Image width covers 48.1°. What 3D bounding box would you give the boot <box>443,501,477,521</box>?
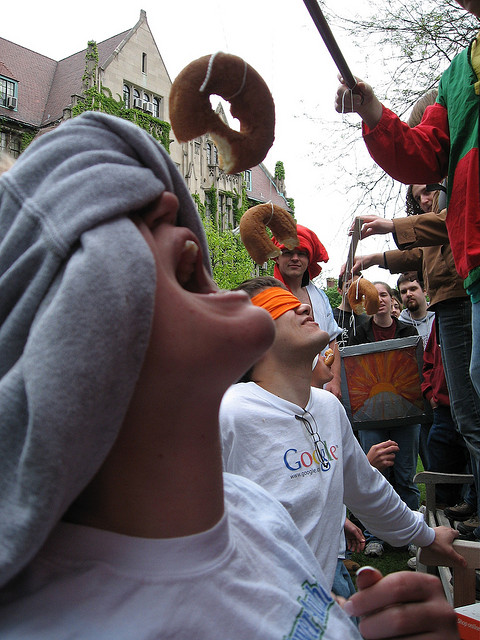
[{"bbox_3d":[1.148,0.999,2.824,0.056,0.066,0.152,16,-13,-33],"label":"boot"}]

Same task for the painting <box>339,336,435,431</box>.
[{"bbox_3d":[0.959,0.406,3.571,0.593,0.618,0.175,2,-5,16],"label":"painting"}]

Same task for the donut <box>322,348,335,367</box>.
[{"bbox_3d":[0.585,0.236,3.539,0.048,0.124,0.096,27,-1,-14],"label":"donut"}]

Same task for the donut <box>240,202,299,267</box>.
[{"bbox_3d":[0.154,-0.464,2.964,0.412,0.345,0.151,12,-37,-38],"label":"donut"}]

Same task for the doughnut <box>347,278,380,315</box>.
[{"bbox_3d":[0.929,-0.166,3.917,0.103,0.256,0.268,-15,11,-29],"label":"doughnut"}]

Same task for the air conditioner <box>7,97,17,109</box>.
[{"bbox_3d":[-8.688,-8.314,20.441,0.298,0.483,0.238,5,-5,-16],"label":"air conditioner"}]

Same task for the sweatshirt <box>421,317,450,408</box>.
[{"bbox_3d":[1.257,0.264,3.487,0.157,0.561,0.644,2,-6,17],"label":"sweatshirt"}]
